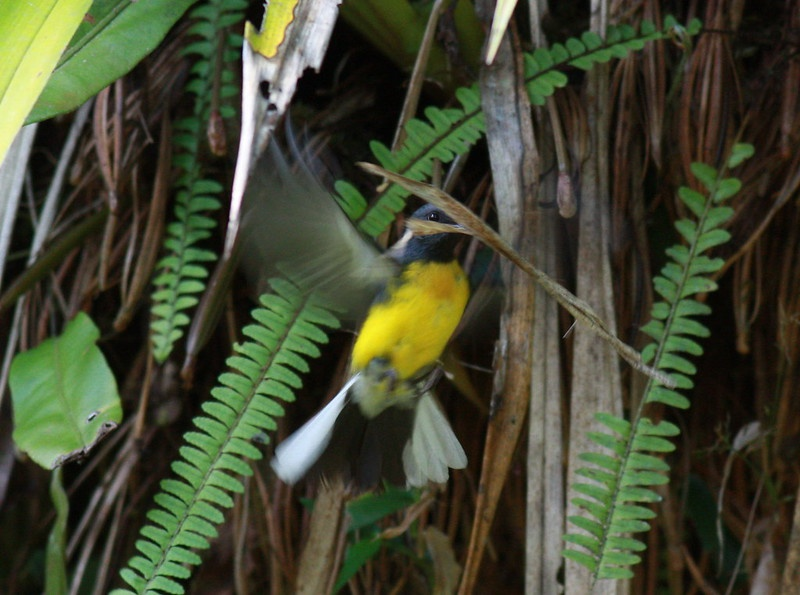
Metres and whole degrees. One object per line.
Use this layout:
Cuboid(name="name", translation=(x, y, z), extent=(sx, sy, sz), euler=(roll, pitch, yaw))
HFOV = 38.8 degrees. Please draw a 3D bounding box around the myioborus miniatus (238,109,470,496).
Cuboid(name="myioborus miniatus", translation=(-0.119, -0.006, 1.701), extent=(0.406, 0.444, 0.311), euler=(5, 5, -19))
